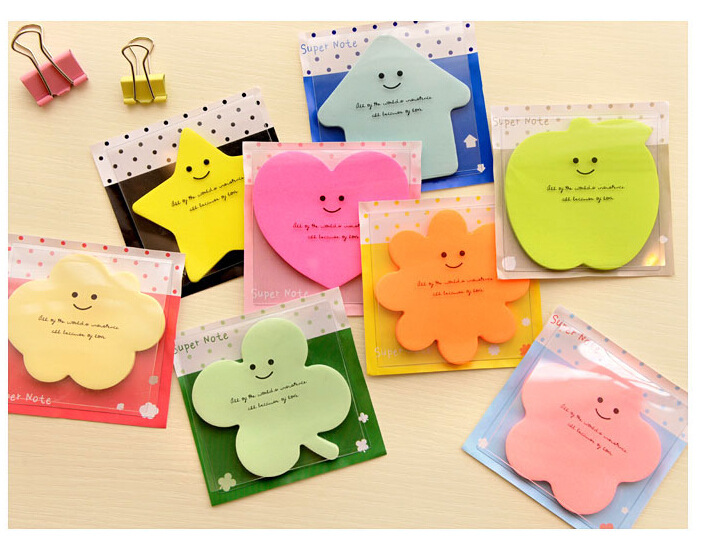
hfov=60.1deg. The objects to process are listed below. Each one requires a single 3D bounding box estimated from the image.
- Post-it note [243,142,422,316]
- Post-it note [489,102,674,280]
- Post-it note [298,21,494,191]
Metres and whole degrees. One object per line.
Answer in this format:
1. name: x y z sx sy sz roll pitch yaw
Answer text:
1. Post-it note: -0.031 -0.083 1.061 0.282 0.291 0.024 -1 3 1
2. Post-it note: 0.387 -0.146 1.062 0.284 0.303 0.042 -2 -1 0
3. Post-it note: 0.061 -0.291 1.064 0.322 0.329 0.036 -6 -3 -1
